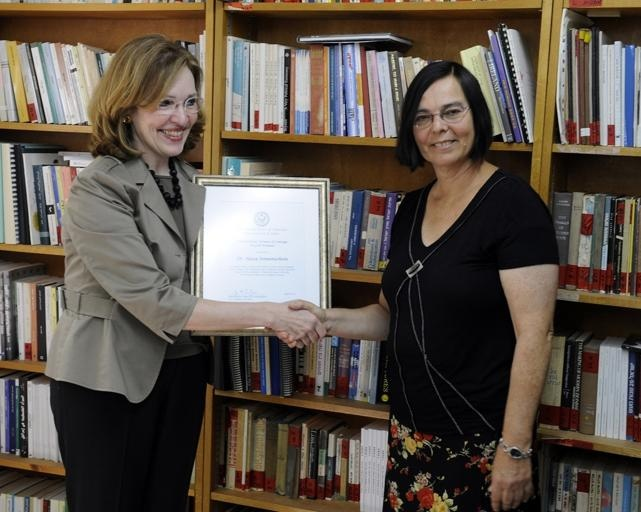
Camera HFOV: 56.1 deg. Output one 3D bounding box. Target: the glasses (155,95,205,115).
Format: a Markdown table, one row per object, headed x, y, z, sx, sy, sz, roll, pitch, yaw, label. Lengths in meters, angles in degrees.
| x | y | z | sx | sy | sz | roll | pitch | yaw | label |
| --- | --- | --- | --- | --- | --- | --- | --- | --- | --- |
| -0.426 | -0.460 | 1.849 | 0.043 | 0.067 | 0.154 | 1 | 4 | 32 | glasses |
